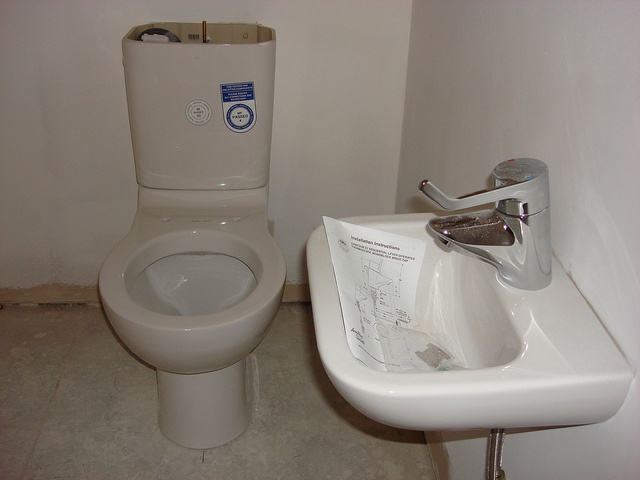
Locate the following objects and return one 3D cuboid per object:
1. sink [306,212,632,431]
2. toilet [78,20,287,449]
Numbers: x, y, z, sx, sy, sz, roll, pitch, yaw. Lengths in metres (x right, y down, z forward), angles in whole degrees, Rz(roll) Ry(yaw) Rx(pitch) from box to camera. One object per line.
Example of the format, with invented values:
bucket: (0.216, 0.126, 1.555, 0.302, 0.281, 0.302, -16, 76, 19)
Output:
sink: (0.205, 0.179, 0.778, 0.338, 0.142, 0.387, -4, 32, -3)
toilet: (-0.306, 0.004, 1.361, 0.430, 0.975, 0.639, 0, 29, -5)
